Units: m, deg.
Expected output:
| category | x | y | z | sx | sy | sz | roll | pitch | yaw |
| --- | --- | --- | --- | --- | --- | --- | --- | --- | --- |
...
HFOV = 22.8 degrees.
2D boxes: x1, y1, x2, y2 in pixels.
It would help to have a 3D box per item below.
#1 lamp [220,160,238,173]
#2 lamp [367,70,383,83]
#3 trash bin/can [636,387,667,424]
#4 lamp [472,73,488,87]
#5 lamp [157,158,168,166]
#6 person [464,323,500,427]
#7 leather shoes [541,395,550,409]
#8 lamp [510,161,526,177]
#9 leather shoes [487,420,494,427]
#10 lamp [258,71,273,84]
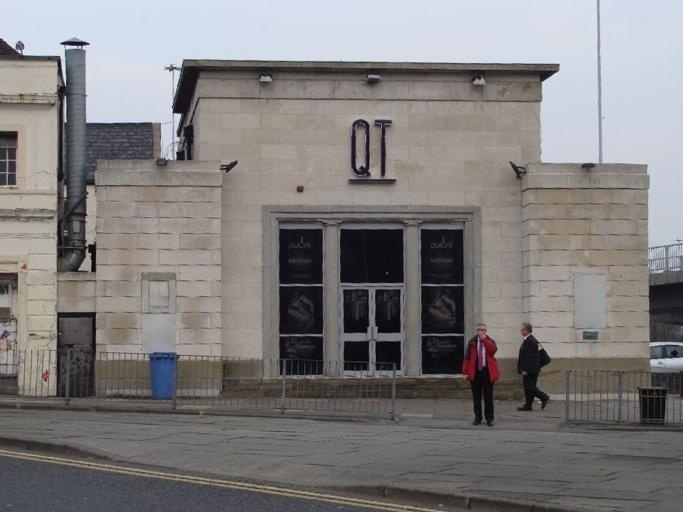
| category | x | y | z | sx | sy | sz | roll | pitch | yaw |
| --- | --- | --- | --- | --- | --- | --- | --- | --- | --- |
| lamp | -2.960 | -2.442 | 44.592 | 0.426 | 0.336 | 0.299 | -2 | -7 | 4 |
| lamp | 0.878 | -4.804 | 44.970 | 0.392 | 0.312 | 0.289 | -1 | -7 | -2 |
| trash bin/can | 7.241 | 3.461 | 39.449 | 0.810 | 0.986 | 0.758 | 0 | -7 | -4 |
| lamp | 3.695 | -4.740 | 45.060 | 0.315 | 0.296 | 0.309 | -1 | 0 | -9 |
| lamp | -4.692 | -2.532 | 44.258 | 0.284 | 0.200 | 0.268 | -8 | -10 | 44 |
| person | 3.251 | 2.734 | 39.575 | 0.787 | 2.410 | 0.869 | -2 | -7 | 4 |
| leather shoes | 5.039 | 3.586 | 41.945 | 0.123 | 0.355 | 0.155 | 23 | 6 | 3 |
| lamp | 4.677 | -2.367 | 44.848 | 0.410 | 0.459 | 0.431 | -1 | -7 | -3 |
| leather shoes | 3.442 | 3.843 | 39.100 | 0.116 | 0.108 | 0.109 | 2 | 0 | 1 |
| lamp | -1.994 | -4.766 | 44.796 | 0.329 | 0.274 | 0.199 | -2 | 8 | -4 |
